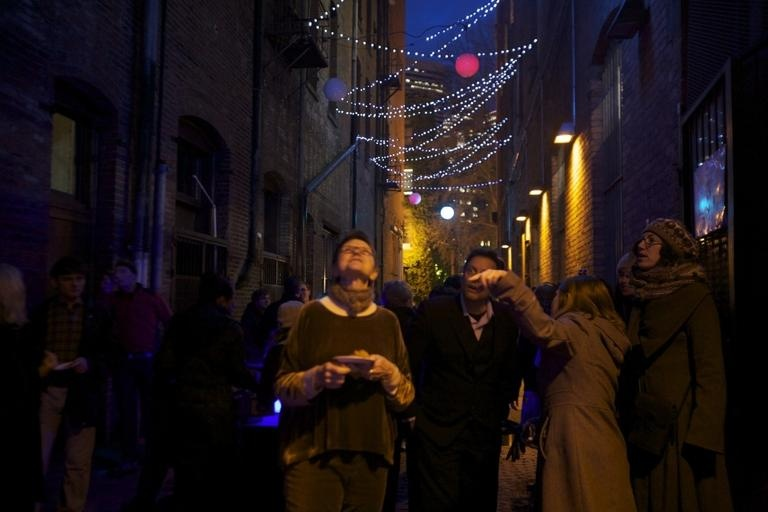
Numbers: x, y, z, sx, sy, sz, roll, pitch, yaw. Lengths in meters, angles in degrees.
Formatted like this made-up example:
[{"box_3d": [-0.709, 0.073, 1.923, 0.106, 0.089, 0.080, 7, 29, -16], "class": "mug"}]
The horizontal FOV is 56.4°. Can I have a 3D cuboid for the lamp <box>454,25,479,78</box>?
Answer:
[{"box_3d": [2.082, -5.114, 18.277, 0.634, 1.016, 1.847, 0, -11, 8], "class": "lamp"}]
